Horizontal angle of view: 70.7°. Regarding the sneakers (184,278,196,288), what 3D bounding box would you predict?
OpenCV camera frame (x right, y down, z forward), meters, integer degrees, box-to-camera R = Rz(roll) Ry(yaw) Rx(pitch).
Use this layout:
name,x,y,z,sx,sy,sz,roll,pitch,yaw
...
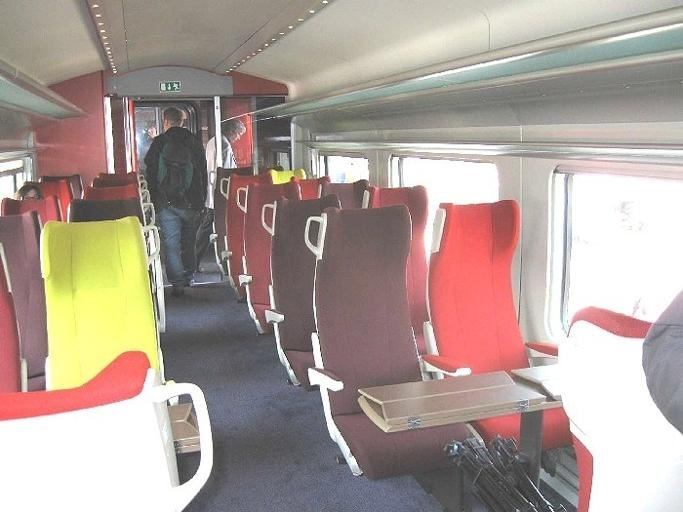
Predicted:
name,x,y,z,sx,sy,sz,roll,pitch,yaw
sneakers,-2.493,0.446,7.909,0.108,0.158,0.131,1,-2,-32

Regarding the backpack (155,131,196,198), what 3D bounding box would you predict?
name,x,y,z,sx,sy,sz,roll,pitch,yaw
backpack,-2.524,-1.310,7.287,0.536,0.963,0.320,0,0,-16

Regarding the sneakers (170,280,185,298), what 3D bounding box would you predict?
name,x,y,z,sx,sy,sz,roll,pitch,yaw
sneakers,-2.547,0.534,7.485,0.153,0.257,0.254,2,-20,-18
